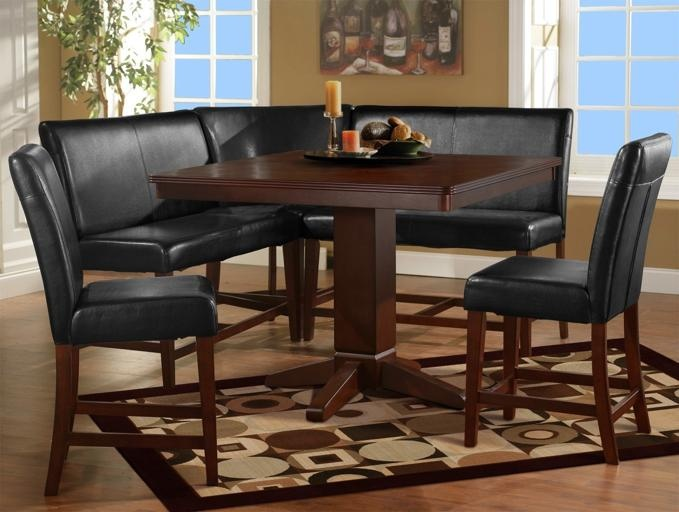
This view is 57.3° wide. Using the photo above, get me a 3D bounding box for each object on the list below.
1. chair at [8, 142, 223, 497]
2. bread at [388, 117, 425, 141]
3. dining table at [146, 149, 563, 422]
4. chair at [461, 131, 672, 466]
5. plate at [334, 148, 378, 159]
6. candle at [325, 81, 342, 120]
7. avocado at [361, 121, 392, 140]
[{"bbox_3d":[-0.680,0.180,2.015,0.549,1.071,0.585,-4,14,-12],"label":"chair"},{"bbox_3d":[0.300,-0.578,2.843,0.199,0.063,0.179,12,5,21],"label":"bread"},{"bbox_3d":[0.220,0.141,2.813,1.528,0.820,1.434,3,7,30],"label":"dining table"},{"bbox_3d":[0.804,0.125,2.223,0.643,1.109,0.571,5,15,22],"label":"chair"},{"bbox_3d":[0.058,-0.437,2.691,0.132,0.017,0.114,3,6,35],"label":"plate"},{"bbox_3d":[-0.028,-0.708,2.823,0.068,0.161,0.095,0,13,5],"label":"candle"},{"bbox_3d":[0.175,-0.597,2.978,0.114,0.056,0.122,0,9,7],"label":"avocado"}]
